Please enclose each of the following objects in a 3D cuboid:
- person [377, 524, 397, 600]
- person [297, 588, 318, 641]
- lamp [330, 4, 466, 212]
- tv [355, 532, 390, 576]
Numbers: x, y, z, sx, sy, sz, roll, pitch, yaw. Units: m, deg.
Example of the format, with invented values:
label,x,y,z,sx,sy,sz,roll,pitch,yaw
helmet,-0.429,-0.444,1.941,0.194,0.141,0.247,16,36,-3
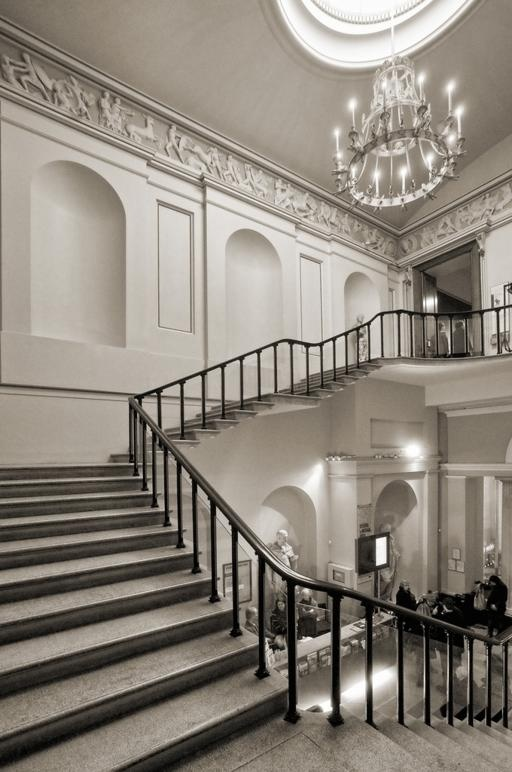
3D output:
label,x,y,z,sx,sy,sz,roll,pitch,yaw
person,2.776,3.664,11.634,0.252,1.317,0.239,-5,-26,24
person,0.745,3.216,8.001,0.214,0.964,0.197,2,23,12
lamp,1.603,-3.530,6.399,0.793,2.032,0.900,1,-9,-26
tv,2.293,3.239,11.008,0.129,0.741,1.250,-1,-3,38
